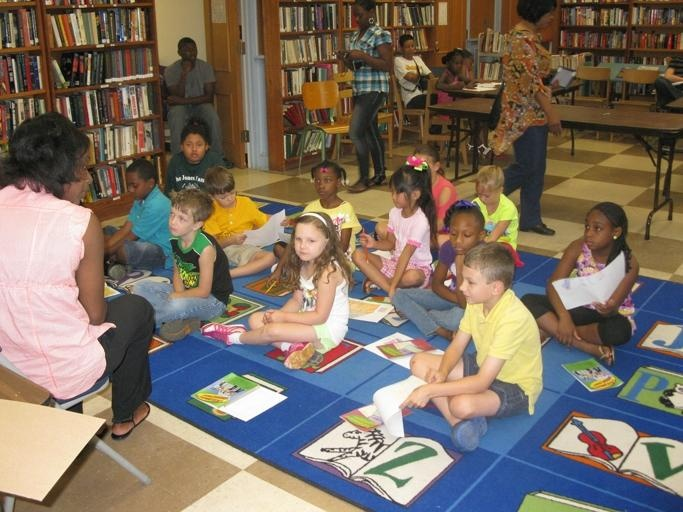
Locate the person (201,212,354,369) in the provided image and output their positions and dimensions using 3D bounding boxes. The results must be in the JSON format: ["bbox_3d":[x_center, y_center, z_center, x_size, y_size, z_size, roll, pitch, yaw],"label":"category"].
[{"bbox_3d":[-0.379,0.168,3.092,0.993,0.710,0.624,-3,13,-10],"label":"person"}]

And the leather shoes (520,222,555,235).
[{"bbox_3d":[1.758,-0.247,4.987,0.309,0.104,0.103,5,25,24],"label":"leather shoes"}]

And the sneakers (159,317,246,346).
[{"bbox_3d":[-0.830,0.423,3.325,0.360,0.074,0.210,1,3,-38],"label":"sneakers"}]

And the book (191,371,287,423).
[{"bbox_3d":[-0.505,0.707,2.804,0.281,0.034,0.202,13,25,36],"label":"book"}]

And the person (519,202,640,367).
[{"bbox_3d":[1.339,0.118,3.148,0.688,0.732,0.615,5,23,36],"label":"person"}]

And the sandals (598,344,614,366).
[{"bbox_3d":[1.443,0.535,3.018,0.037,0.109,0.052,14,-17,-42],"label":"sandals"}]

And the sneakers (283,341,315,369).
[{"bbox_3d":[-0.221,0.539,3.004,0.180,0.072,0.101,-39,0,-4],"label":"sneakers"}]

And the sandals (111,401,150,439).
[{"bbox_3d":[-0.984,0.780,2.694,0.088,0.081,0.228,15,32,16],"label":"sandals"}]

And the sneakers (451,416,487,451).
[{"bbox_3d":[0.556,0.759,2.443,0.176,0.107,0.068,-37,8,-21],"label":"sneakers"}]
